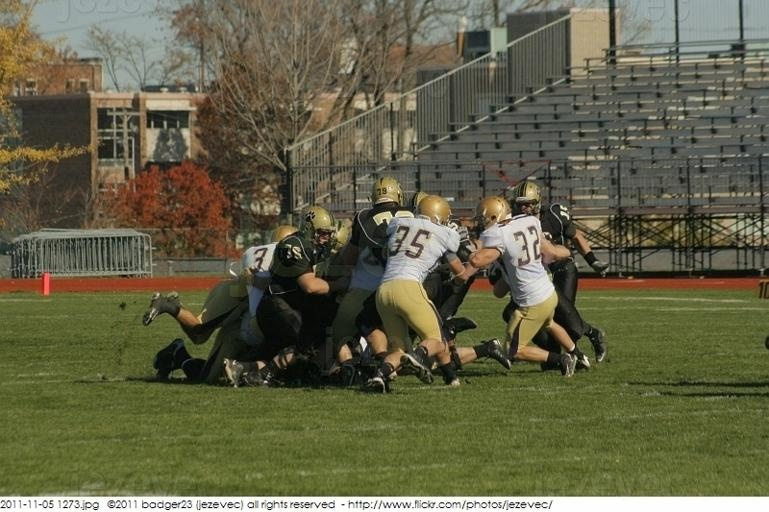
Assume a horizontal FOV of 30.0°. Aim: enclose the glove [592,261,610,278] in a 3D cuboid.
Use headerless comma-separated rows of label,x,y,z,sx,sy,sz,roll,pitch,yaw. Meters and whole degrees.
glove,4.602,0.237,30.768,0.273,0.293,0.716,4,13,-7
